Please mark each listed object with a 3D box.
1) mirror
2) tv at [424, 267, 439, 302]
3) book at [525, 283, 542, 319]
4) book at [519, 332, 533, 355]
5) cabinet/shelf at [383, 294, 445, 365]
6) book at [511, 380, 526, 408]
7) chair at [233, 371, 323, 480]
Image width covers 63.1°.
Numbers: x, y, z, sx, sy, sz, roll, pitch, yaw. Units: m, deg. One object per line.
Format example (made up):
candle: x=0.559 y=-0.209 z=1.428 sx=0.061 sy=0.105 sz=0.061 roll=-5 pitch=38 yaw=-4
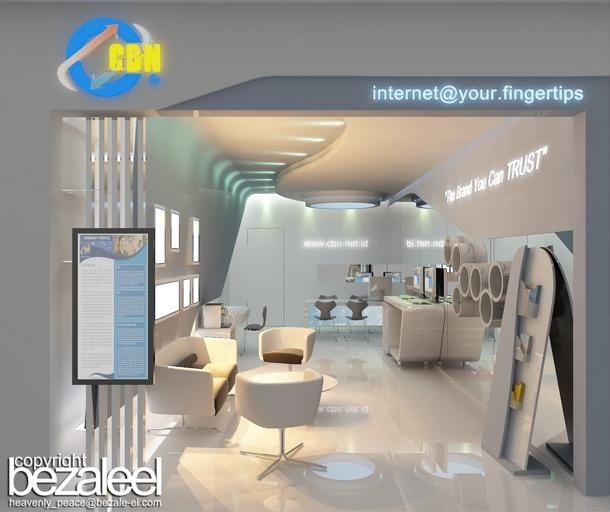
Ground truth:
mirror: x=2.105 y=0.920 z=4.724 sx=0.700 sy=2.021 sz=0.637 roll=1 pitch=2 yaw=4
tv: x=2.056 y=0.432 z=8.138 sx=0.165 sy=0.621 sz=0.478 roll=2 pitch=-4 yaw=-9
book: x=2.114 y=0.413 z=4.616 sx=0.104 sy=0.298 sz=0.076 roll=2 pitch=3 yaw=38
book: x=2.058 y=0.815 z=4.664 sx=0.063 sy=0.237 sz=0.194 roll=-2 pitch=2 yaw=-1
cabinet/shelf: x=1.804 y=1.225 z=8.535 sx=0.780 sy=0.974 sz=1.449 roll=2 pitch=0 yaw=-10
book: x=1.982 y=1.295 z=4.705 sx=0.101 sy=0.245 sz=0.160 roll=-1 pitch=3 yaw=-20
chair: x=-0.262 y=1.532 z=4.841 sx=0.686 sy=0.966 sz=0.738 roll=-4 pitch=8 yaw=-20
